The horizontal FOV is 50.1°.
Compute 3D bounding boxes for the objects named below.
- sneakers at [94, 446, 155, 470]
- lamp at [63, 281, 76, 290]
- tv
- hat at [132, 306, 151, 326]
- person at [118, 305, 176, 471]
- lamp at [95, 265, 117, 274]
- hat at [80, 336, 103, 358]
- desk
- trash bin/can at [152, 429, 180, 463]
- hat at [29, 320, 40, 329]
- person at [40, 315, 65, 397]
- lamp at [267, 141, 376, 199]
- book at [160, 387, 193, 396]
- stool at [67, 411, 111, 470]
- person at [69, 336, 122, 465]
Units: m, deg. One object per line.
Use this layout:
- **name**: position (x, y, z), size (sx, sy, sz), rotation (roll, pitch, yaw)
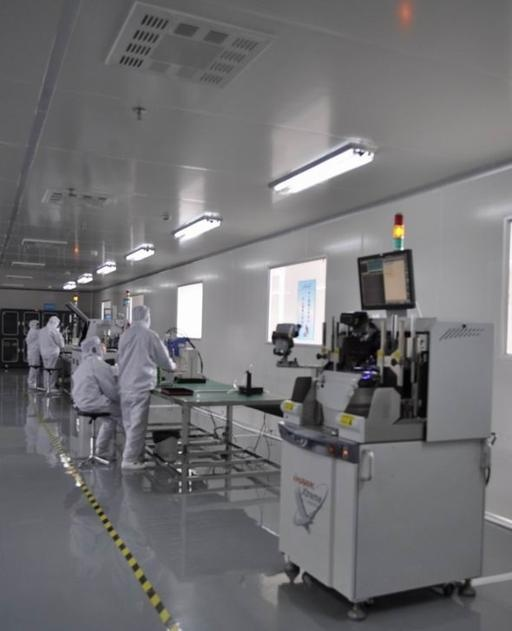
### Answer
- **sneakers**: position (-1.152, 1.259, 4.715), size (0.340, 0.096, 0.220), rotation (8, -2, 34)
- **lamp**: position (-4.960, -0.798, 14.595), size (0.334, 0.140, 2.874), rotation (1, 1, -19)
- **tv**: position (0.653, -0.176, 2.715), size (0.054, 0.321, 0.415), rotation (-6, 6, -22)
- **hat**: position (-1.050, -0.019, 4.962), size (0.166, 0.198, 0.188), rotation (4, 10, 14)
- **person**: position (-0.970, 0.612, 4.829), size (0.521, 1.400, 0.462), rotation (1, 1, -37)
- **lamp**: position (-2.760, -0.907, 10.079), size (0.299, 0.102, 0.405), rotation (3, -15, -42)
- **hat**: position (-1.535, 0.268, 5.116), size (0.184, 0.210, 0.178), rotation (-4, 10, -25)
- **desk**: position (-0.421, 1.003, 4.949), size (0.982, 0.539, 1.615), rotation (1, 1, -15)
- **trash bin/can**: position (-0.772, 1.128, 4.767), size (0.204, 0.245, 0.238), rotation (-2, -24, -5)
- **hat**: position (-4.641, 0.170, 11.444), size (0.223, 0.244, 0.206), rotation (-2, 6, -18)
- **person**: position (-3.630, 0.689, 9.723), size (0.429, 1.329, 0.905), rotation (1, 1, -20)
- **lamp**: position (0.447, -1.020, 3.820), size (0.213, 0.094, 0.750), rotation (18, -14, -22)
- **book**: position (-0.684, 0.637, 4.673), size (0.253, 0.029, 0.456), rotation (1, 1, -14)
- **stool**: position (-1.611, 1.215, 5.294), size (0.408, 0.617, 0.410), rotation (6, -9, -32)
- **person**: position (-1.461, 0.752, 5.001), size (0.410, 1.120, 0.695), rotation (1, 1, -18)
